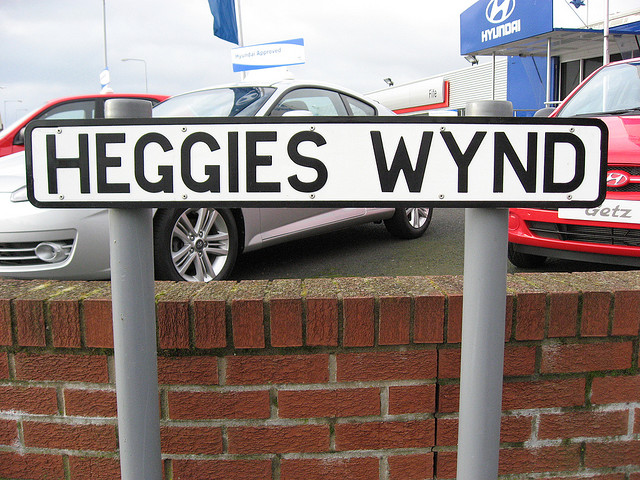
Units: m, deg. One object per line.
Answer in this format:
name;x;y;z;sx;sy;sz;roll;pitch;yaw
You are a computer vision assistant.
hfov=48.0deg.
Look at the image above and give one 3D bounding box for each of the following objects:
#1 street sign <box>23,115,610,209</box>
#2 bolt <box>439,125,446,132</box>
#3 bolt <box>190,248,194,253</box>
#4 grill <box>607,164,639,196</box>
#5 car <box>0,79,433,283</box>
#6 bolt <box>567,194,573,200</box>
street sign;-0.017;-0.209;1.895;1.533;0.221;0.019;0;6;2
bolt;0.319;-0.303;1.872;0.022;0.017;0.008;0;-1;9
bolt;-0.802;0.057;4.562;0.018;0.024;0.006;-6;5;-42
grill;1.817;-0.381;4.312;0.210;0.196;0.121;1;6;43
car;-0.596;-0.494;5.324;1.508;0.948;3.555;2;5;40
bolt;0.654;-0.121;1.885;0.017;0.013;0.004;1;-7;9
